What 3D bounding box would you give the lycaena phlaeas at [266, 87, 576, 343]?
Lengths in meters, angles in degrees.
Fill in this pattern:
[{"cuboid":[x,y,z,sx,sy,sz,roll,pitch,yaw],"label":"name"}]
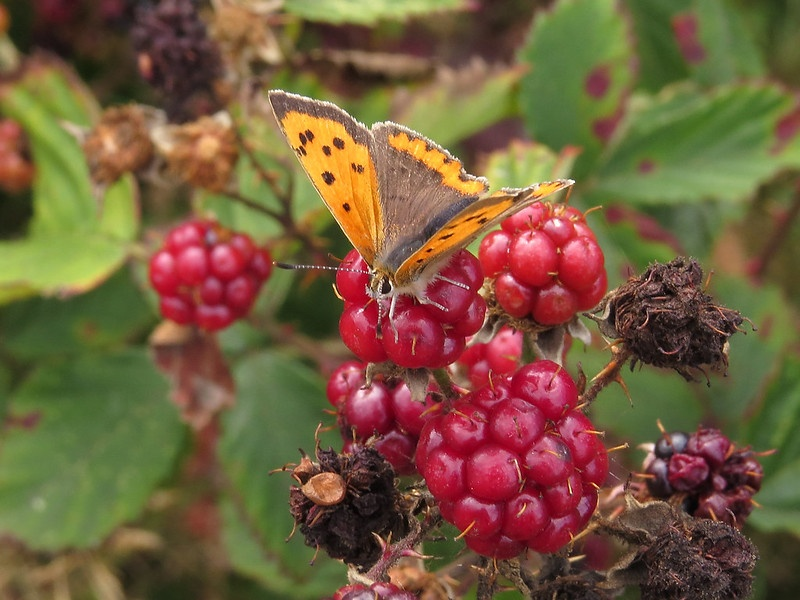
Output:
[{"cuboid":[0.019,-0.118,1.266,0.268,0.380,0.219,0,98,6],"label":"lycaena phlaeas"}]
